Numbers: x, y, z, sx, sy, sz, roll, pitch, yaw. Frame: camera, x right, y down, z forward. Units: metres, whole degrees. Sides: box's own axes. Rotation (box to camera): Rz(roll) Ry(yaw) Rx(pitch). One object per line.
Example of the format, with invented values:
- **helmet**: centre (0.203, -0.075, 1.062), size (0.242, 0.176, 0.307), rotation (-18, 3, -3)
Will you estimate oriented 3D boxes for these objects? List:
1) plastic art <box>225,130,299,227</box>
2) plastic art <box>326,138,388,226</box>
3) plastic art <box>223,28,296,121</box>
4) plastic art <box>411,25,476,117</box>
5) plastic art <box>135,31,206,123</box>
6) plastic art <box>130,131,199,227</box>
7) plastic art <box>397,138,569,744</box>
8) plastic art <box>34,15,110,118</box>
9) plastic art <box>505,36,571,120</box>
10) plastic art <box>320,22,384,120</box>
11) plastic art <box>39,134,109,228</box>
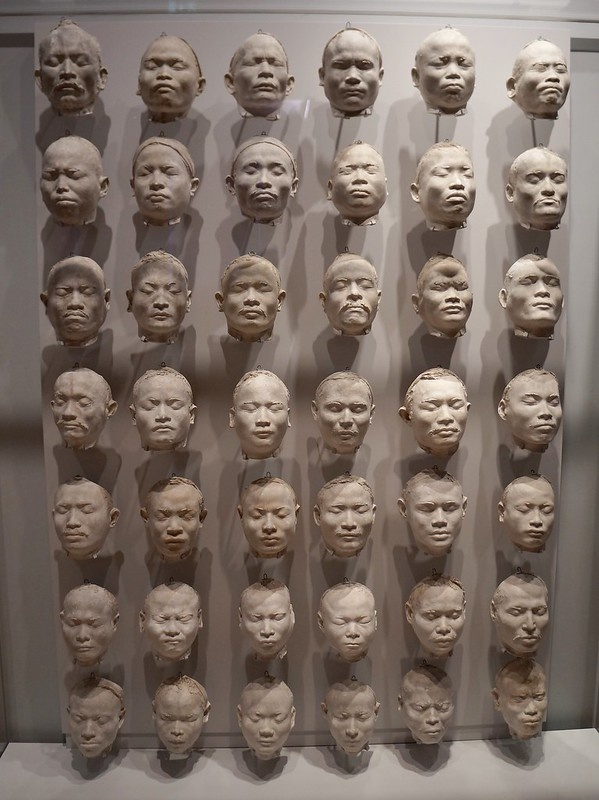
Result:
- **plastic art**: centre (-0.193, -1.183, 7.324), size (0.393, 0.456, 0.269), rotation (2, -2, -2)
- **plastic art**: centre (0.318, -1.184, 7.356), size (0.297, 0.445, 0.327), rotation (-1, 3, -4)
- **plastic art**: centre (-0.198, -1.764, 7.337), size (0.427, 0.436, 0.273), rotation (1, -9, -10)
- **plastic art**: centre (0.812, -1.797, 7.401), size (0.368, 0.472, 0.347), rotation (-1, -1, -8)
- **plastic art**: centre (-0.727, -1.741, 7.315), size (0.414, 0.471, 0.266), rotation (2, -7, 7)
- **plastic art**: centre (-0.735, -1.195, 7.382), size (0.286, 0.468, 0.380), rotation (0, 3, 25)
- **plastic art**: centre (1.053, 0.219, 7.702), size (1.009, 3.254, 0.765), rotation (1, 0, 3)
- **plastic art**: centre (-1.235, -1.788, 7.328), size (0.397, 0.481, 0.277), rotation (-1, 2, -13)
- **plastic art**: centre (1.328, -1.756, 7.457), size (0.332, 0.436, 0.333), rotation (-3, -6, 14)
- **plastic art**: centre (0.300, -1.756, 7.285), size (0.365, 0.450, 0.238), rotation (1, -1, -3)
- **plastic art**: centre (-1.231, -1.193, 7.340), size (0.246, 0.471, 0.316), rotation (1, 3, 29)
